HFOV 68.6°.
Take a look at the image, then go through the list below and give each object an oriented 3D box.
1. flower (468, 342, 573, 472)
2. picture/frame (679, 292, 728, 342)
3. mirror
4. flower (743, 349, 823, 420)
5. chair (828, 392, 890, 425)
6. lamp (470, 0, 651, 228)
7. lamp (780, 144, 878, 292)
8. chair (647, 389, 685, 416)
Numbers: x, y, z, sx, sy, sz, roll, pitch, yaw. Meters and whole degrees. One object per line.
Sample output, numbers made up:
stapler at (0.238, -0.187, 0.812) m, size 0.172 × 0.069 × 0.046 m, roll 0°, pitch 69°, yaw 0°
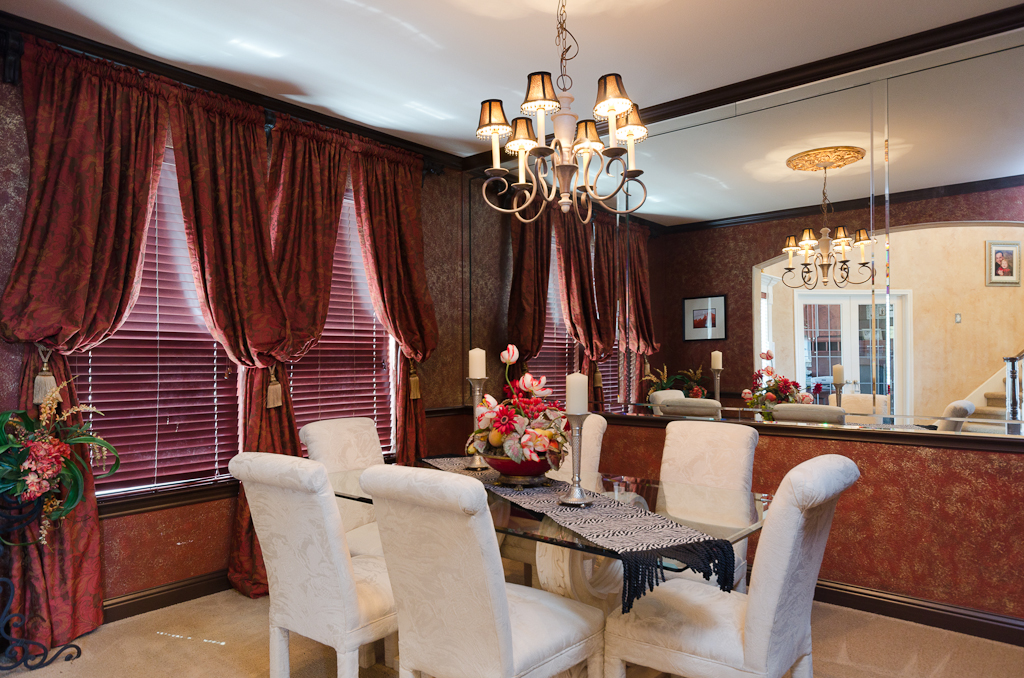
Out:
flower at (0.130, 0.455, 4.245) m, size 0.462 × 0.496 × 0.518 m, roll -15°, pitch -20°, yaw 39°
picture/frame at (1.471, -0.163, 5.675) m, size 0.373 × 0.388 × 0.015 m, roll -3°, pitch -8°, yaw 43°
mirror at (1.723, -0.827, 5.080) m, size 2.798 × 2.149 × 1.703 m, roll -1°, pitch -1°, yaw 33°
flower at (1.909, 0.359, 5.359) m, size 0.338 × 0.301 × 0.301 m, roll -13°, pitch -3°, yaw -11°
chair at (2.358, 0.453, 5.012) m, size 0.222 × 0.178 × 0.224 m, roll -1°, pitch -5°, yaw 30°
lamp at (0.353, -1.513, 4.923) m, size 1.187 × 1.803 × 1.096 m, roll -2°, pitch -6°, yaw 12°
lamp at (2.184, -0.822, 5.213) m, size 0.565 × 0.877 × 0.559 m, roll -2°, pitch 4°, yaw 14°
chair at (1.183, 0.464, 5.769) m, size 0.182 × 0.217 × 0.208 m, roll 0°, pitch -32°, yaw 19°
